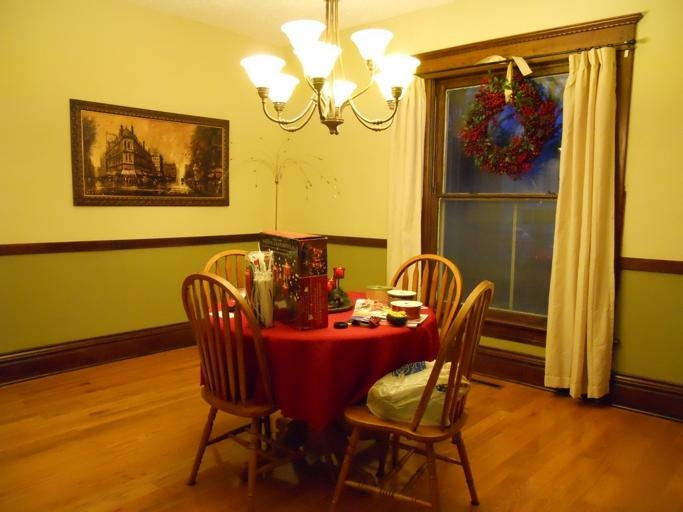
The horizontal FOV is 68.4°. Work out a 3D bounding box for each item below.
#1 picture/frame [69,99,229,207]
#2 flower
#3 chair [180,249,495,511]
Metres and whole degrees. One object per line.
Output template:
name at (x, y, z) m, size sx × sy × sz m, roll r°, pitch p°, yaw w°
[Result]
picture/frame at (-1.747, -0.955, 4.843) m, size 1.443 × 0.937 × 0.015 m, roll -6°, pitch 26°, yaw -38°
flower at (1.417, -1.124, 4.241) m, size 0.783 × 0.922 × 0.241 m, roll 9°, pitch 15°, yaw 33°
chair at (-0.036, 0.782, 2.903) m, size 1.323 × 0.989 × 0.504 m, roll 2°, pitch 5°, yaw 19°
